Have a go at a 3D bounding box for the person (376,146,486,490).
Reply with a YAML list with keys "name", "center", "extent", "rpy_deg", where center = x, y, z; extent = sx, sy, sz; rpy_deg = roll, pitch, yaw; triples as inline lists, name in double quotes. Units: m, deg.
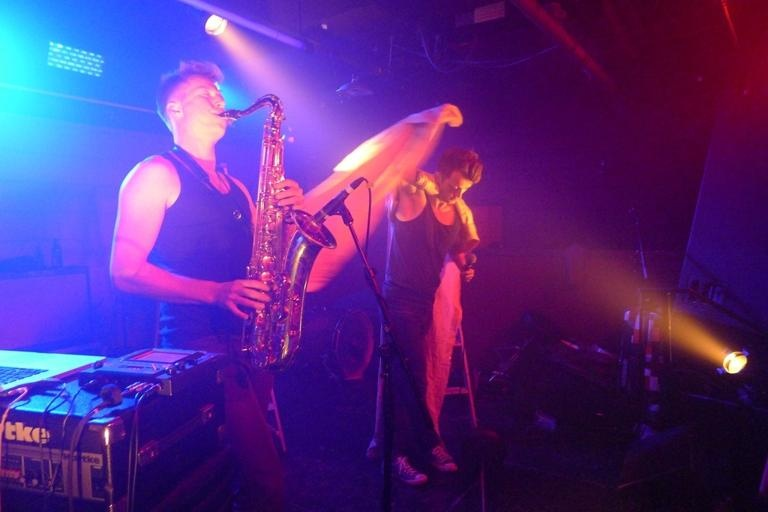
- name: "person"
  center: [0.529, 0.650, 6.806]
  extent: [1.016, 3.639, 1.002]
  rpy_deg: [5, -8, -35]
